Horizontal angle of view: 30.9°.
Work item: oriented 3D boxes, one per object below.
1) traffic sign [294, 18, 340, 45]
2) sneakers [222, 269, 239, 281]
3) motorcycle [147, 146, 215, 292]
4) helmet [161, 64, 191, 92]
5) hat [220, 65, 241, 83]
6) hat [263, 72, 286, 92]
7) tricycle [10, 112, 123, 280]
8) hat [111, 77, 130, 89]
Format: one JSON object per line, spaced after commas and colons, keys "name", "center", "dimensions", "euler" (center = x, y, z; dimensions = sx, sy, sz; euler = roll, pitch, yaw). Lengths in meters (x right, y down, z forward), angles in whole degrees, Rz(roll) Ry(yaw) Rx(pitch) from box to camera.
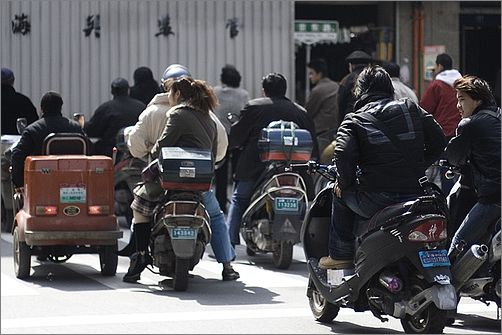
{"name": "traffic sign", "center": [1.323, -2.878, 19.209], "dimensions": [0.984, 0.518, 1.096], "euler": [1, 7, -7]}
{"name": "sneakers", "center": [-0.279, 1.421, 12.095], "dimensions": [0.228, 0.155, 0.111], "euler": [-2, 8, -18]}
{"name": "motorcycle", "center": [-0.963, 0.602, 12.130], "dimensions": [0.770, 1.734, 2.462], "euler": [4, 4, -8]}
{"name": "helmet", "center": [-1.033, -1.236, 12.185], "dimensions": [0.353, 0.374, 0.439], "euler": [0, 21, -4]}
{"name": "hat", "center": [-0.343, -1.577, 15.653], "dimensions": [0.245, 0.341, 0.338], "euler": [-1, 28, -6]}
{"name": "hat", "center": [0.358, -1.260, 13.399], "dimensions": [0.240, 0.329, 0.323], "euler": [-1, 10, -3]}
{"name": "tricycle", "center": [-2.429, 0.503, 11.947], "dimensions": [1.378, 1.859, 0.976], "euler": [0, 7, -16]}
{"name": "hat", "center": [-2.210, -1.422, 15.341], "dimensions": [0.185, 0.160, 0.196], "euler": [2, 10, 7]}
